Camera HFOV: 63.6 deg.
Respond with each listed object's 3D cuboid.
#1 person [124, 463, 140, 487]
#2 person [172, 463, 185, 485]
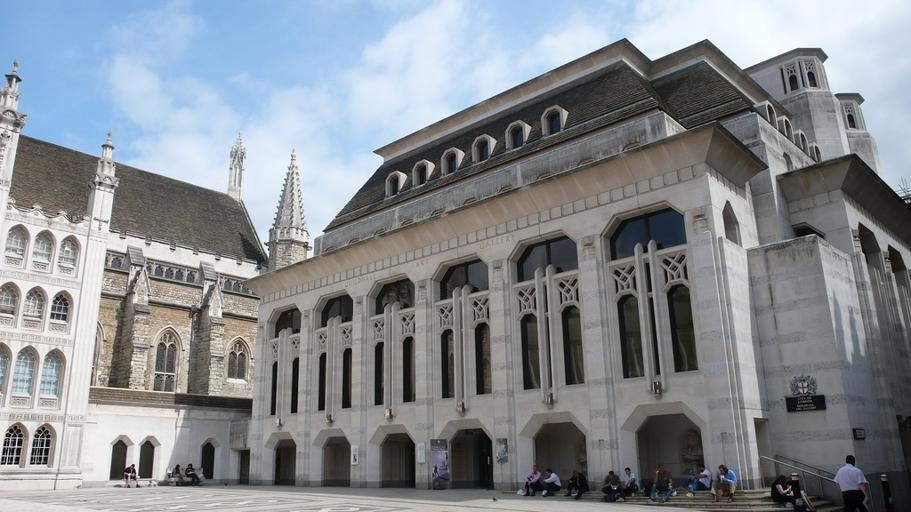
[{"bbox_3d":[-23.698,15.943,53.433,1.190,1.468,1.192,-24,-26,37],"label":"person"},{"bbox_3d":[-20.973,16.319,55.138,0.883,1.492,1.070,7,-24,-19],"label":"person"}]
